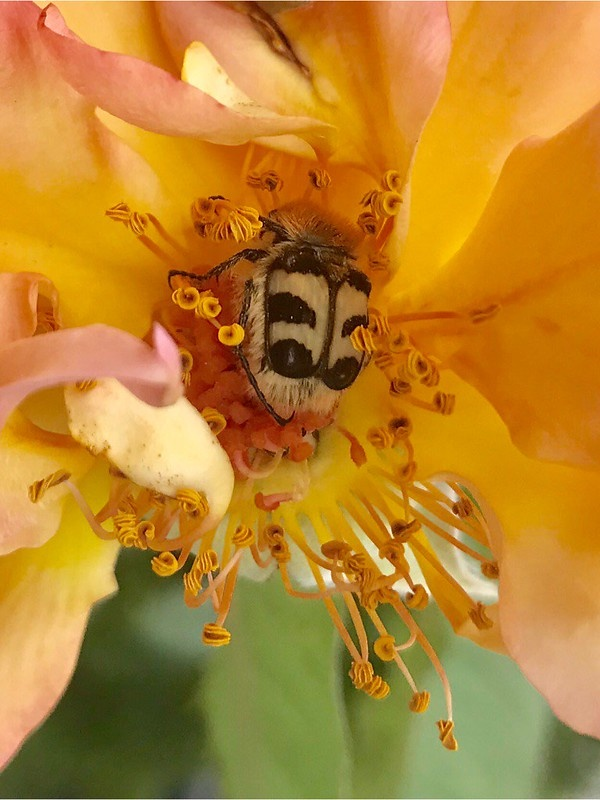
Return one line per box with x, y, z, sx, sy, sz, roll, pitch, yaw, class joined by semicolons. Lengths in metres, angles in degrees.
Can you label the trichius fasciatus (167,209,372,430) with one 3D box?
-0.024;-0.050;0.522;0.136;0.045;0.121;-7;98;-36;trichius fasciatus
